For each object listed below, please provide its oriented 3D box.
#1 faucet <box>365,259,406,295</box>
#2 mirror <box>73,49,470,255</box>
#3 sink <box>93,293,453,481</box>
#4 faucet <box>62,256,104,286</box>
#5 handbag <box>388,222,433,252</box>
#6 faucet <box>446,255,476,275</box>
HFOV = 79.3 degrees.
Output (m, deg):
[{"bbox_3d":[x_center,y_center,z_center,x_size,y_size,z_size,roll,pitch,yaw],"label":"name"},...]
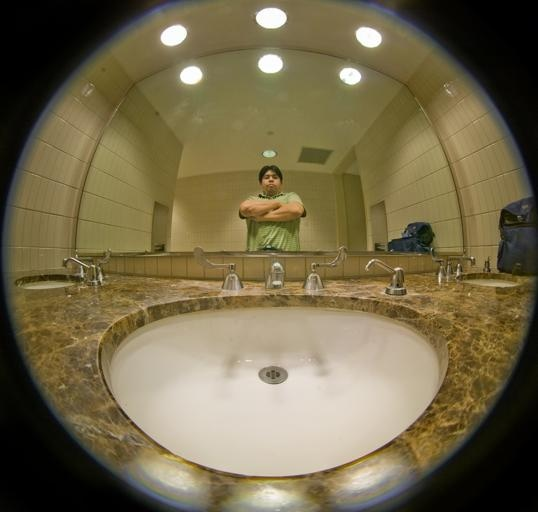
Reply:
[{"bbox_3d":[0.299,0.048,0.816,0.086,0.088,0.169,5,8,23],"label":"faucet"},{"bbox_3d":[-0.006,-0.353,1.044,1.258,0.935,0.015,0,-20,3],"label":"mirror"},{"bbox_3d":[0.012,0.185,0.580,0.513,0.171,0.423,4,7,16],"label":"sink"},{"bbox_3d":[-0.626,0.050,1.109,0.190,0.109,0.067,8,11,25],"label":"faucet"},{"bbox_3d":[0.475,-0.047,1.149,0.145,0.136,0.106,4,-6,-9],"label":"handbag"},{"bbox_3d":[0.665,0.033,1.139,0.087,0.066,0.210,6,8,32],"label":"faucet"}]
